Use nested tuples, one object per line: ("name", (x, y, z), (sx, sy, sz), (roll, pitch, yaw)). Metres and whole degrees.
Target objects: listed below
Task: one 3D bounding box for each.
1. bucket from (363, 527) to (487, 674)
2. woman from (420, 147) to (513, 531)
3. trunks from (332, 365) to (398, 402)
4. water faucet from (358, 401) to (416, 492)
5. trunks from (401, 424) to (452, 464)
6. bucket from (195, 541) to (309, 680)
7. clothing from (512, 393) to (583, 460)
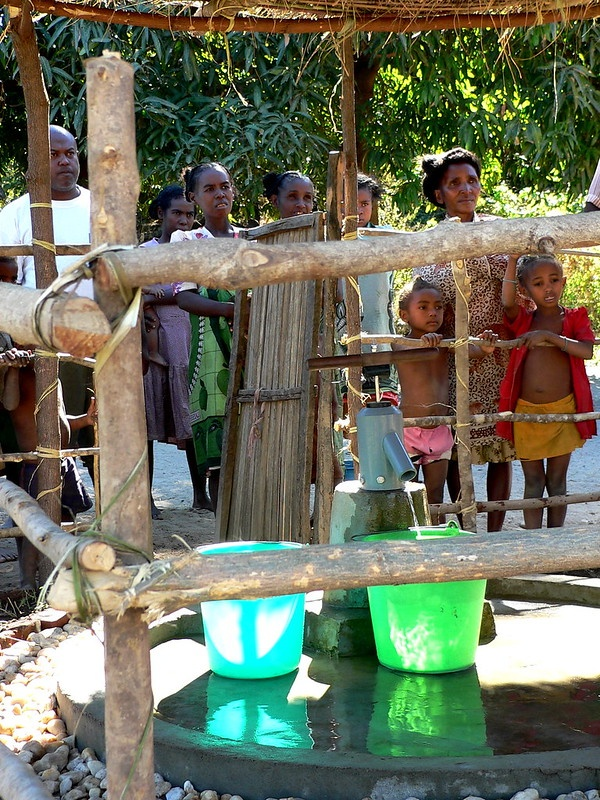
("bucket", (0.334, 0.595, 2.487), (0.302, 0.279, 0.218), (-2, 4, 5))
("woman", (0.752, -0.291, 4.196), (0.582, 1.618, 0.527), (-2, 3, -14))
("trunks", (0.275, -0.048, 3.720), (0.199, 0.161, 0.240), (1, -19, -5))
("water faucet", (0.230, 0.135, 2.562), (0.141, 0.256, 0.316), (-3, 3, 3))
("trunks", (0.496, 0.170, 3.727), (0.210, 0.122, 0.102), (-3, -6, -17))
("bucket", (-0.134, 0.632, 2.536), (0.251, 0.213, 0.223), (1, -9, -19))
("clothing", (1.020, 0.121, 3.874), (0.280, 0.271, 0.259), (-2, 4, 14))
